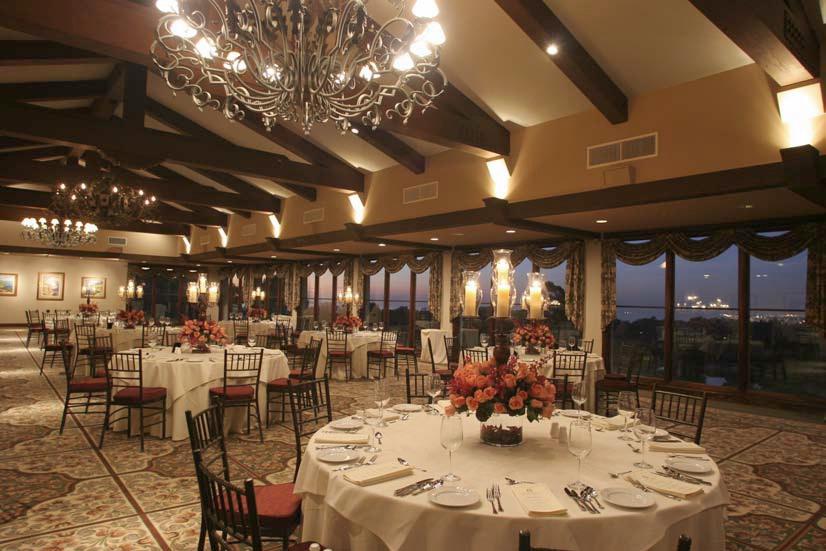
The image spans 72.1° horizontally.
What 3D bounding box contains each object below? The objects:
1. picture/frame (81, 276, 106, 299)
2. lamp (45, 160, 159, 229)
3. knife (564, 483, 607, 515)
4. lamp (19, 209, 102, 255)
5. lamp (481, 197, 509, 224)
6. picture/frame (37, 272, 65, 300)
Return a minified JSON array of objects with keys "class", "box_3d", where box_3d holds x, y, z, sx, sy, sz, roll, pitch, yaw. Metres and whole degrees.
[{"class":"picture/frame","box_3d":[-13.138,0.506,23.123,0.856,0.855,0.060,13,-25,-37]},{"class":"lamp","box_3d":[-6.489,-1.507,11.853,1.963,0.827,1.888,0,0,-21]},{"class":"knife","box_3d":[1.406,1.833,4.662,0.145,0.058,0.229,-3,11,-14]},{"class":"lamp","box_3d":[-9.532,-1.158,15.040,1.308,0.711,1.349,8,7,32]},{"class":"lamp","box_3d":[1.523,-1.136,10.450,0.445,0.510,0.520,4,-7,-23]},{"class":"picture/frame","box_3d":[-14.656,0.438,22.760,1.062,1.430,0.095,5,-7,-42]}]
